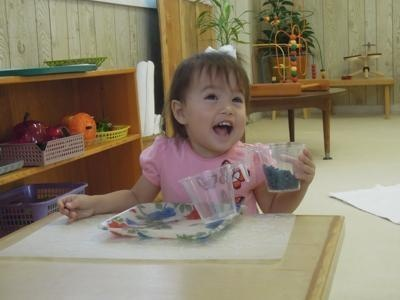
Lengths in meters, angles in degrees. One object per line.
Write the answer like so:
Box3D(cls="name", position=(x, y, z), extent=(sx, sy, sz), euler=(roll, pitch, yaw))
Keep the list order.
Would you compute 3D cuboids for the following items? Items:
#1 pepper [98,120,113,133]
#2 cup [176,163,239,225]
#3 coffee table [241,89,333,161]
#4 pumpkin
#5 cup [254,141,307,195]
Box3D(cls="pepper", position=(-0.583, -0.142, 2.074), extent=(0.069, 0.059, 0.027), euler=(16, -25, -25))
Box3D(cls="cup", position=(0.009, 0.070, 0.729), extent=(0.108, 0.109, 0.119), euler=(-24, -8, 28))
Box3D(cls="coffee table", position=(1.077, -0.272, 3.460), extent=(0.620, 0.361, 0.633), euler=(-14, 12, 40))
Box3D(cls="pumpkin", position=(-0.774, -0.101, 1.790), extent=(0.321, 0.189, 0.209), euler=(1, 2, -9))
Box3D(cls="cup", position=(0.182, 0.036, 0.786), extent=(0.102, 0.104, 0.107), euler=(-4, 4, 0))
